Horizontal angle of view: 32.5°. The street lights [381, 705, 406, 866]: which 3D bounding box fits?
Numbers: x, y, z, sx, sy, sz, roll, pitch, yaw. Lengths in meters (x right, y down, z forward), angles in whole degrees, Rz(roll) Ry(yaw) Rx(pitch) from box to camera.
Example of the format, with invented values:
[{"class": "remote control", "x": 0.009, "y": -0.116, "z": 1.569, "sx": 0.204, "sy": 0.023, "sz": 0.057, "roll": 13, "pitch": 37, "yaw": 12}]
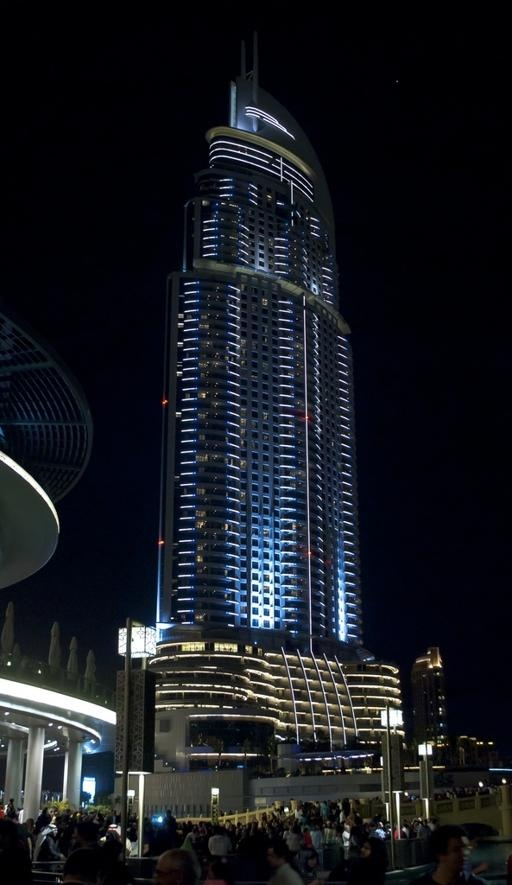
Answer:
[{"class": "street lights", "x": 4.024, "y": 9.877, "z": 25.216, "sx": 0.441, "sy": 4.286, "sz": 0.491, "roll": 0, "pitch": -19, "yaw": 9}]
